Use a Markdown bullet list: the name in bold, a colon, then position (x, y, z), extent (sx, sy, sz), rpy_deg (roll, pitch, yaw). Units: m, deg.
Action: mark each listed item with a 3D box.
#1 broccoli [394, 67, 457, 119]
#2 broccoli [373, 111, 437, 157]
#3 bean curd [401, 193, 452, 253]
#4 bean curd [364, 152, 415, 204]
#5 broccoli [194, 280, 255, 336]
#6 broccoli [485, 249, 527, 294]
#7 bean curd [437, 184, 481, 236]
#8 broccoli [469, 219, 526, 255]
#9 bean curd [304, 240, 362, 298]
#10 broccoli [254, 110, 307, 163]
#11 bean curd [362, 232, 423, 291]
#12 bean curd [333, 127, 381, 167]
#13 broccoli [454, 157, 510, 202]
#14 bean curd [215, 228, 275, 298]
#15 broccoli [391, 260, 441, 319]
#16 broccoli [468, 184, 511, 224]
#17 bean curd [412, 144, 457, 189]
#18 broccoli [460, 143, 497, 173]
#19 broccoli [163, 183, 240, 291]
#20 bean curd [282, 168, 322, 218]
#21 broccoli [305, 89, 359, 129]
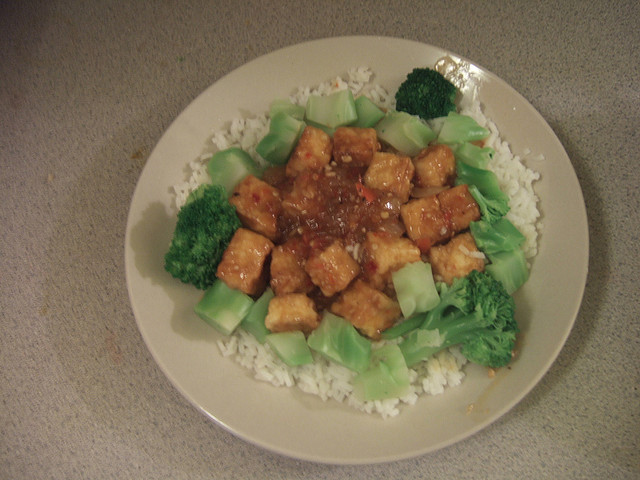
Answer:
- **broccoli**: position (0.697, -0.950, 3.723), extent (0.315, 0.157, 0.339), rpy_deg (28, 83, 9)
- **broccoli**: position (0.546, -0.671, 3.672), extent (0.312, 0.151, 0.267), rpy_deg (-7, 105, 21)
- **bean curd**: position (0.664, -0.111, 3.593), extent (0.307, 0.095, 0.315), rpy_deg (-43, 107, -11)
- **bean curd**: position (0.452, -0.423, 3.617), extent (0.300, 0.072, 0.269), rpy_deg (23, 87, 2)
- **broccoli**: position (-0.616, 0.429, 3.710), extent (0.316, 0.337, 0.368), rpy_deg (42, 65, 2)
- **broccoli**: position (1.205, 0.182, 3.694), extent (0.220, 0.083, 0.288), rpy_deg (-31, 91, -2)
- **bean curd**: position (0.891, -0.182, 3.645), extent (0.265, 0.086, 0.305), rpy_deg (-15, 89, -20)
- **broccoli**: position (1.118, -0.022, 3.603), extent (0.270, 0.094, 0.240), rpy_deg (-15, 81, -4)
- **bean curd**: position (0.080, 0.171, 3.527), extent (0.296, 0.140, 0.318), rpy_deg (-44, 87, -2)
- **broccoli**: position (-0.226, -0.687, 3.726), extent (0.091, 0.312, 0.326), rpy_deg (41, 110, 29)
- **bean curd**: position (0.405, 0.104, 3.546), extent (0.315, 0.101, 0.366), rpy_deg (13, 88, -15)
- **bean curd**: position (0.230, -0.621, 3.731), extent (0.289, 0.156, 0.317), rpy_deg (5, 47, 3)
- **broccoli**: position (1.083, -0.390, 3.737), extent (0.270, 0.345, 0.096), rpy_deg (-15, 62, 33)
- **bean curd**: position (-0.471, 0.133, 3.559), extent (0.300, 0.074, 0.380), rpy_deg (19, 87, 2)
- **broccoli**: position (0.597, 0.296, 3.510), extent (0.276, 0.105, 0.342), rpy_deg (-15, 94, -3)
- **broccoli**: position (1.085, -0.234, 3.667), extent (0.185, 0.091, 0.274), rpy_deg (-44, 87, 7)
- **bean curd**: position (0.737, -0.450, 3.597), extent (0.246, 0.108, 0.295), rpy_deg (4, 92, 2)
- **broccoli**: position (1.020, -0.532, 3.668), extent (0.186, 0.081, 0.215), rpy_deg (19, 94, 6)
- **broccoli**: position (-0.745, -0.036, 3.582), extent (0.377, 0.113, 0.631), rpy_deg (28, 87, 2)
- **bean curd**: position (-0.101, -0.301, 3.609), extent (0.183, 0.057, 0.311), rpy_deg (30, 87, 2)
- **broccoli**: position (0.074, -0.852, 3.770), extent (0.294, 0.117, 0.262), rpy_deg (0, 89, 15)
